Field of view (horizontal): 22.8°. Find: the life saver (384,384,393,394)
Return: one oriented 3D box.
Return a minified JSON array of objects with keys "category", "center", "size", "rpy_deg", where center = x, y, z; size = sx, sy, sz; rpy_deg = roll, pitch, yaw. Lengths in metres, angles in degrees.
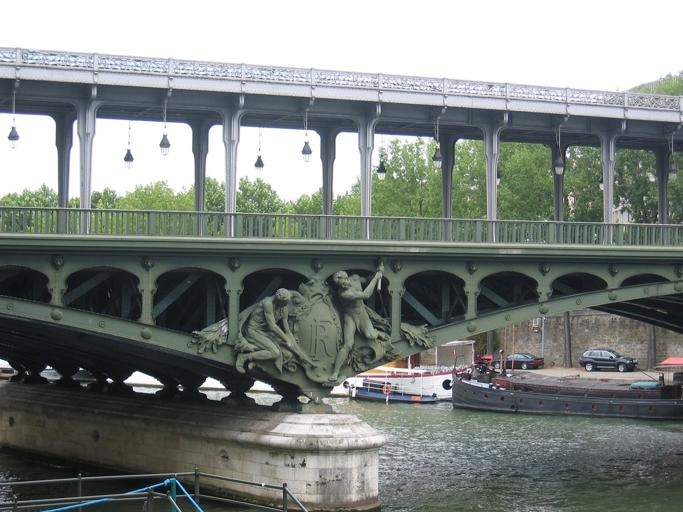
[{"category":"life saver","center":[2.295,6.973,88.145],"size":[0.430,0.414,0.727],"rpy_deg":[7,-9,-3]}]

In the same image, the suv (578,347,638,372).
[{"category":"suv","center":[14.221,5.614,91.034],"size":[2.464,1.051,1.194],"rpy_deg":[-3,-4,25]}]

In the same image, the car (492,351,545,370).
[{"category":"car","center":[9.744,6.019,95.688],"size":[2.669,0.885,1.307],"rpy_deg":[3,0,22]}]
